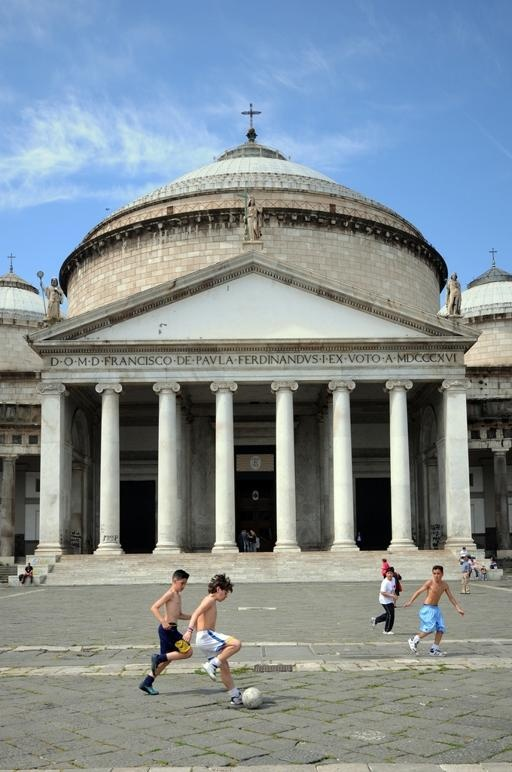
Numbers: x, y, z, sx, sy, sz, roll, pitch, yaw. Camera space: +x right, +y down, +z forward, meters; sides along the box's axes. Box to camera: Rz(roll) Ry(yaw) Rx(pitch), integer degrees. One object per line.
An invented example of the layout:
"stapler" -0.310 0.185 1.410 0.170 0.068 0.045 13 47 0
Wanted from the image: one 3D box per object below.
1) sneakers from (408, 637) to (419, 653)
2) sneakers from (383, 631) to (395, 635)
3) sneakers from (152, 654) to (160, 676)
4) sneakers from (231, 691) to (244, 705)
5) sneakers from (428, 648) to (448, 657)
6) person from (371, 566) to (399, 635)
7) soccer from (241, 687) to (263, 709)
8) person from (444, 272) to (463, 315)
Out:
"sneakers" 2.249 3.674 13.451 0.110 0.219 0.273 -2 -9 9
"sneakers" 2.207 4.098 15.692 0.176 0.067 0.090 0 -4 -4
"sneakers" -1.050 2.999 10.149 0.078 0.193 0.084 10 -4 -25
"sneakers" -0.188 3.153 9.550 0.066 0.104 0.185 2 1 13
"sneakers" 2.558 3.732 13.240 0.284 0.131 0.099 1 3 4
"person" 2.216 3.662 16.238 0.440 1.090 1.329 -2 -9 8
"soccer" -0.035 3.043 9.237 0.191 0.185 0.188 -12 -24 23
"person" 7.524 -3.429 36.222 0.526 1.666 1.539 -3 -9 11
